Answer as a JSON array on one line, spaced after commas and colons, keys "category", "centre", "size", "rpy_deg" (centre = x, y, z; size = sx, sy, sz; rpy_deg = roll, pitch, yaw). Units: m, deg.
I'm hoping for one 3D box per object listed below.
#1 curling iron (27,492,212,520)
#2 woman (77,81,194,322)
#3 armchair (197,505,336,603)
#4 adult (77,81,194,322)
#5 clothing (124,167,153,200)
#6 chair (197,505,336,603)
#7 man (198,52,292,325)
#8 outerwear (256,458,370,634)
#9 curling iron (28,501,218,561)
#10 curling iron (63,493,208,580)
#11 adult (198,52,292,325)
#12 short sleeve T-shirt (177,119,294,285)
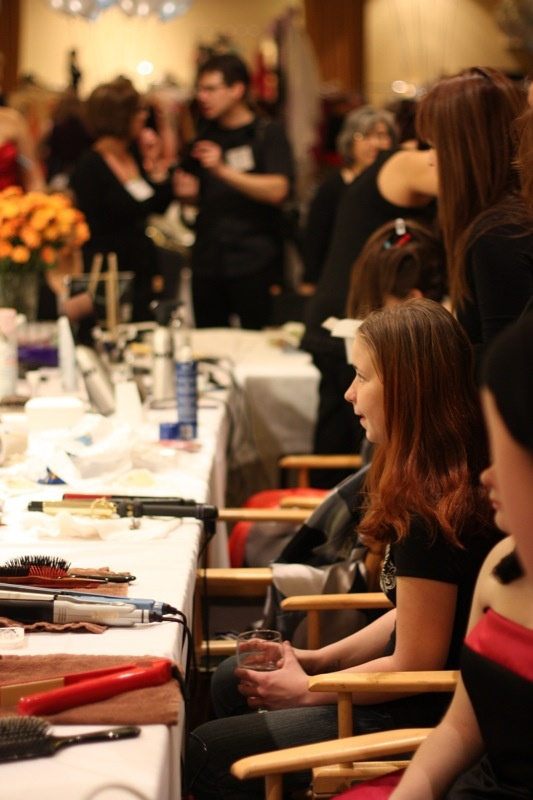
[{"category": "curling iron", "centre": [-0.279, 0.194, 1.370], "size": [0.252, 0.024, 0.041], "rpy_deg": [2, -4, -3]}, {"category": "woman", "centre": [-0.626, -0.898, 3.391], "size": [0.483, 1.050, 0.403], "rpy_deg": [-9, 16, -23]}, {"category": "armchair", "centre": [0.008, 0.344, 1.705], "size": [0.290, 0.338, 0.272], "rpy_deg": [1, 3, 4]}, {"category": "adult", "centre": [-0.626, -0.898, 3.391], "size": [0.481, 1.050, 0.405], "rpy_deg": [-9, 16, -22]}, {"category": "clothing", "centre": [-0.571, -0.943, 3.321], "size": [0.127, 0.115, 0.087], "rpy_deg": [-4, 14, -5]}, {"category": "chair", "centre": [-0.009, 0.364, 1.726], "size": [0.290, 0.338, 0.272], "rpy_deg": [1, 3, 4]}, {"category": "man", "centre": [-0.131, -0.944, 3.534], "size": [0.504, 1.219, 0.283], "rpy_deg": [-4, 15, -4]}, {"category": "outerwear", "centre": [0.104, 0.375, 1.705], "size": [0.238, 0.399, 0.306], "rpy_deg": [4, -9, -9]}, {"category": "curling iron", "centre": [-0.256, 0.219, 1.262], "size": [0.290, 0.031, 0.099], "rpy_deg": [2, 23, -1]}, {"category": "curling iron", "centre": [-0.222, 0.224, 1.232], "size": [0.364, 0.036, 0.124], "rpy_deg": [5, 28, 5]}, {"category": "adult", "centre": [-0.131, -0.944, 3.534], "size": [0.504, 1.219, 0.283], "rpy_deg": [-4, 15, -4]}, {"category": "short sleeve T-shirt", "centre": [-0.151, -0.934, 3.520], "size": [0.686, 0.782, 0.447], "rpy_deg": [16, 19, 43]}]
